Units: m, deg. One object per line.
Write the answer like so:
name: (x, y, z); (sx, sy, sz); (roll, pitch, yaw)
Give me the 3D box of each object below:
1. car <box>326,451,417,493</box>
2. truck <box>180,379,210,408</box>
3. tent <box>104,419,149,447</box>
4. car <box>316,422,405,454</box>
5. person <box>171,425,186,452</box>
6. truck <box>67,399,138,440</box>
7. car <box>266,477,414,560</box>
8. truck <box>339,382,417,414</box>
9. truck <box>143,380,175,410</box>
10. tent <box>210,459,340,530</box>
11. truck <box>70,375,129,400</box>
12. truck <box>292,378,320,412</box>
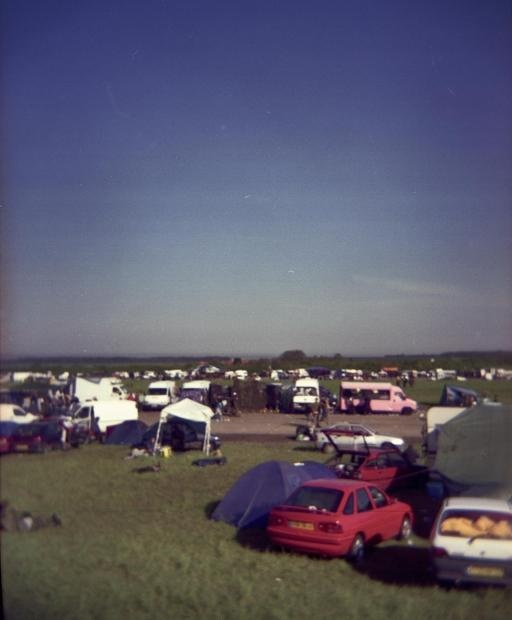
car: (3.358, 4.012, 15.456); (2.193, 0.680, 0.931); (-9, 11, -9)
truck: (-3.873, 5.205, 38.323); (1.644, 1.390, 2.623); (-1, -7, 7)
tent: (-4.916, 4.716, 22.895); (1.698, 0.915, 0.771); (-2, -5, 31)
car: (3.550, 4.610, 20.520); (3.105, 1.056, 3.929); (0, -4, 6)
person: (-2.821, 4.612, 21.539); (0.482, 0.877, 0.416); (1, -4, -10)
truck: (-6.272, 4.546, 24.930); (2.046, 0.973, 1.493); (4, -3, -29)
car: (1.417, 3.407, 9.835); (1.191, 1.070, 2.229); (-3, -6, 44)
truck: (7.441, 5.587, 37.585); (4.516, 1.880, 0.654); (0, -4, 5)
truck: (-6.396, 5.658, 40.046); (1.391, 1.105, 2.493); (-1, -4, 2)
tent: (0.355, 3.603, 12.210); (1.294, 0.621, 1.948); (-1, 5, 35)
truck: (-9.184, 4.539, 34.710); (2.849, 1.277, 1.079); (-2, 7, -43)
truck: (3.123, 5.616, 38.588); (1.656, 2.008, 1.824); (0, -4, 6)
